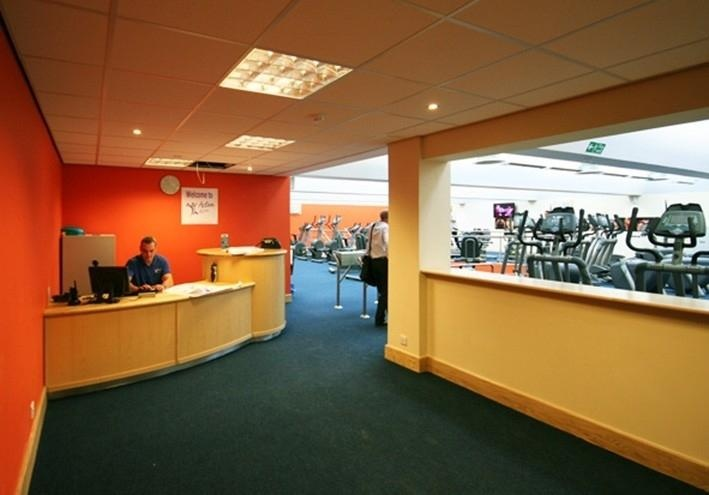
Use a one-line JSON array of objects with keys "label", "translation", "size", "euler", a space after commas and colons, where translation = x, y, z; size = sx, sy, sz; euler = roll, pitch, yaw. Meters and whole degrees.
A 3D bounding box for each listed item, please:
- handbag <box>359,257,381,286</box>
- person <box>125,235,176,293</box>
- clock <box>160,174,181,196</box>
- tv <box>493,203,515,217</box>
[{"label": "handbag", "translation": [0.266, 0.367, 7.450], "size": [0.235, 0.576, 0.422], "euler": [-7, 15, -11]}, {"label": "person", "translation": [-2.650, 0.196, 6.143], "size": [0.502, 0.651, 0.766], "euler": [-2, 5, -25]}, {"label": "clock", "translation": [-3.150, -1.080, 8.131], "size": [0.348, 0.332, 0.073], "euler": [-4, 6, -44]}, {"label": "tv", "translation": [4.592, -1.119, 14.302], "size": [0.388, 0.432, 0.870], "euler": [0, 5, -8]}]
